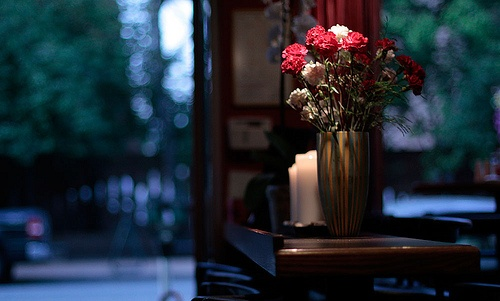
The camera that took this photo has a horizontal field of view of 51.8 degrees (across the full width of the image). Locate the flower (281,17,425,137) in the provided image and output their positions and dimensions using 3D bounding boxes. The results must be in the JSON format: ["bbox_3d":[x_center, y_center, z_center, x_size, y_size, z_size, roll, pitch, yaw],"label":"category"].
[{"bbox_3d":[0.866,-0.484,3.991,0.864,0.848,0.912,9,-5,33],"label":"flower"}]

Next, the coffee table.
[{"bbox_3d":[0.748,0.793,3.778,1.695,0.498,0.501,-2,0,-1],"label":"coffee table"}]
